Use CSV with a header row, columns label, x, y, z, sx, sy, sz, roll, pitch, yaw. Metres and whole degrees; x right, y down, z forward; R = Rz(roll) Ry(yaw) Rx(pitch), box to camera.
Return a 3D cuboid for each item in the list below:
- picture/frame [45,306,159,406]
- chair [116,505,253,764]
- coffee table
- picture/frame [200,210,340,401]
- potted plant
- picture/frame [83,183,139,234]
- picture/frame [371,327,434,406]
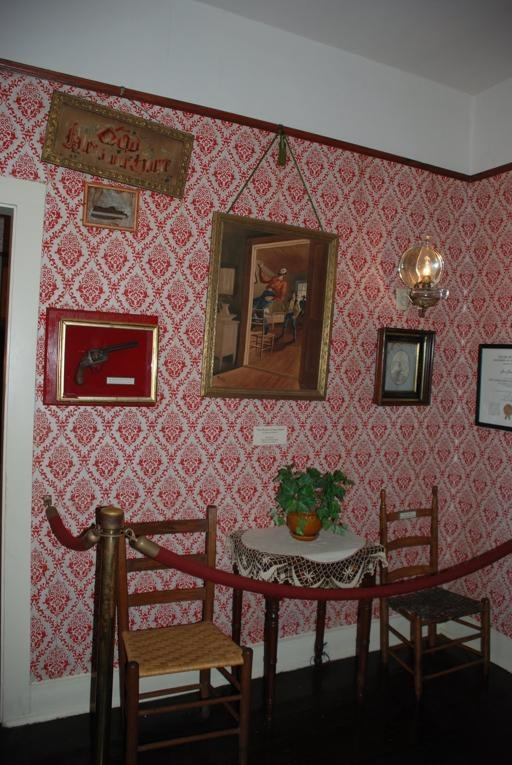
label,x,y,z,sx,sy,sz,roll,pitch,yaw
picture/frame,-0.719,-0.121,2.638,0.473,0.393,0.048,0,3,-29
chair,-0.298,1.069,2.500,0.601,0.668,0.886,3,-2,-12
coffee table,0.160,1.064,2.985,0.875,0.919,0.801,1,3,-20
picture/frame,0.043,-0.413,3.064,0.975,1.135,0.060,5,6,-31
potted plant,0.261,0.556,2.923,0.373,0.361,0.394,5,-2,43
picture/frame,-0.671,-0.800,2.650,0.247,0.206,0.018,-1,6,-28
picture/frame,0.893,-0.090,3.584,0.061,0.483,0.477,7,2,-23
